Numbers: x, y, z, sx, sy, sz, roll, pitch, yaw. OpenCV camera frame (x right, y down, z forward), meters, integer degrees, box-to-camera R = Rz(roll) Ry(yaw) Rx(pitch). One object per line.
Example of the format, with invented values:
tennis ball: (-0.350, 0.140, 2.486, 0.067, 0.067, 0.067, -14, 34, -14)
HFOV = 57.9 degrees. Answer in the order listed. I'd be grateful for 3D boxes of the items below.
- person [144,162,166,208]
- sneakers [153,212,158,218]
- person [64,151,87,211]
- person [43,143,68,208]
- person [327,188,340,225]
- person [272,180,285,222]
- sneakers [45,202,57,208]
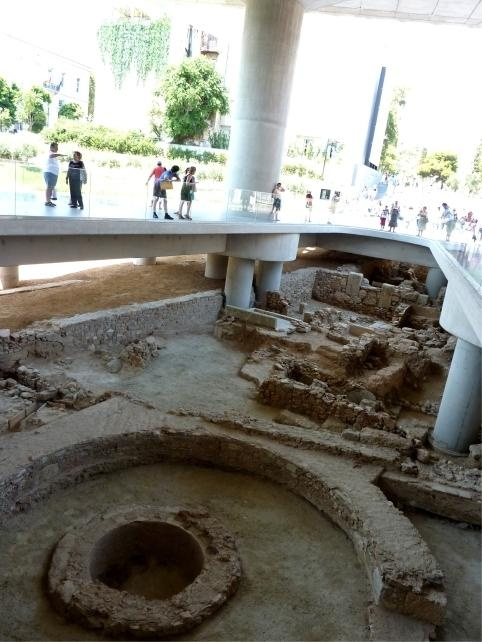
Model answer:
person: (-1.731, -2.804, 8.828, 0.334, 0.844, 0.505, 7, 16, -6)
sneakers: (-1.733, -2.136, 8.781, 0.127, 0.118, 0.049, -13, 56, -22)
person: (-2.815, -2.399, 7.438, 0.309, 0.914, 0.493, 2, 18, -20)
person: (-3.022, -2.335, 6.989, 0.234, 0.974, 0.472, 6, 17, -7)
person: (3.557, -4.403, 16.871, 0.311, 1.225, 0.808, 13, 17, 14)
person: (1.053, -3.572, 12.991, 0.355, 1.090, 0.797, 9, 16, 2)
sneakers: (-3.057, -1.877, 6.992, 0.139, 0.061, 0.041, -2, 40, -29)
